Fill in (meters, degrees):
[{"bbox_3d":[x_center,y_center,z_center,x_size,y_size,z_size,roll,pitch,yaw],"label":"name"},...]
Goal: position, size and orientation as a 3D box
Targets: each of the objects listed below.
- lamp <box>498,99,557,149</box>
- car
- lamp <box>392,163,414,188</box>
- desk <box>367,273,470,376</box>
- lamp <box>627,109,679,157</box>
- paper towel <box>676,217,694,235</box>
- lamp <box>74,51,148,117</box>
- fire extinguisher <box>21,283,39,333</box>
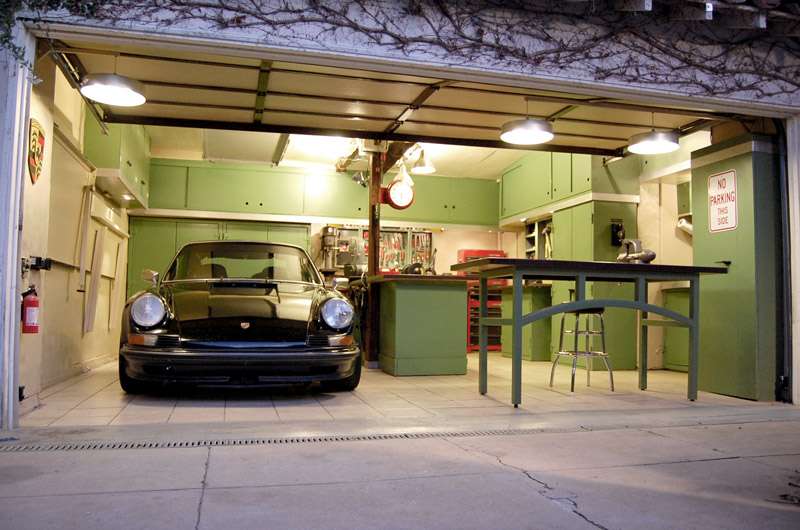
[{"bbox_3d":[1.270,-1.359,5.861,0.455,0.452,0.432,2,-7,3],"label":"lamp"},{"bbox_3d":[-1.408,0.442,5.262,2.026,1.454,1.058,0,-5,-7],"label":"car"},{"bbox_3d":[0.036,-1.353,8.836,0.270,0.372,0.516,-1,-5,4],"label":"lamp"},{"bbox_3d":[0.120,0.715,7.229,1.207,1.072,1.133,1,-4,-11],"label":"desk"},{"bbox_3d":[2.622,-1.380,6.242,0.433,0.437,0.412,1,-6,-5],"label":"lamp"},{"bbox_3d":[3.824,-0.528,7.895,0.160,0.228,0.239,-2,-5,14],"label":"paper towel"},{"bbox_3d":[-2.448,-1.451,4.961,0.452,0.456,0.441,-8,-14,22],"label":"lamp"},{"bbox_3d":[-2.747,0.320,4.364,0.117,0.351,0.282,3,-6,-31],"label":"fire extinguisher"}]
